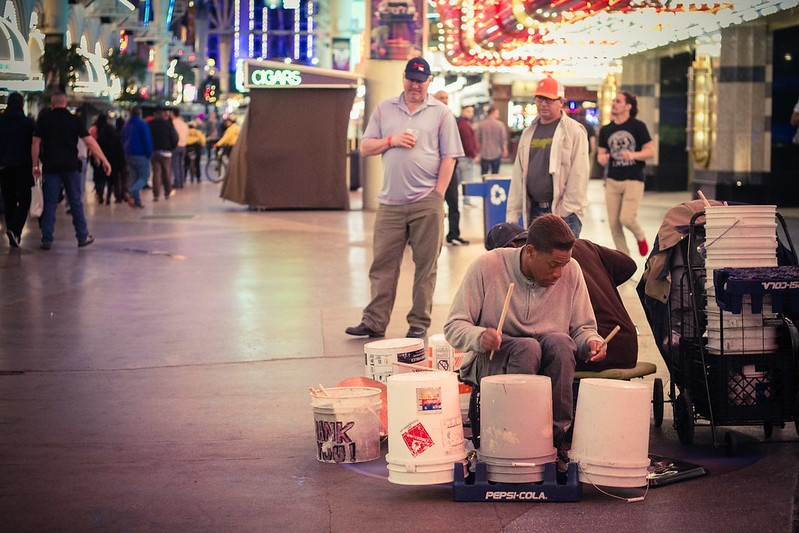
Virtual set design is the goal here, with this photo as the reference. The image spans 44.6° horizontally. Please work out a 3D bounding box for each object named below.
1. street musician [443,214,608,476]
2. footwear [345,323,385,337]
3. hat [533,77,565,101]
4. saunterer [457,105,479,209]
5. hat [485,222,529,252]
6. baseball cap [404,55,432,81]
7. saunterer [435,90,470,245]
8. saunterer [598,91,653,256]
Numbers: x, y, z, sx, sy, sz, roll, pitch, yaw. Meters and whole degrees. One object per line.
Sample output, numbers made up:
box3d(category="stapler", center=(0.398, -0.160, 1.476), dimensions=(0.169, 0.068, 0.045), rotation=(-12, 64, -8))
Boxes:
box3d(category="street musician", center=(0.884, 0.470, 7.156), dimensions=(1.019, 1.675, 1.236), rotation=(0, 2, -11))
box3d(category="footwear", center=(-0.380, 0.640, 9.899), dimensions=(0.429, 0.190, 0.151), rotation=(6, -1, -9))
box3d(category="hat", center=(1.491, -1.761, 9.570), dimensions=(0.318, 0.208, 0.250), rotation=(-1, 13, -5))
box3d(category="saunterer", center=(1.575, -2.567, 22.336), dimensions=(0.607, 2.233, 0.684), rotation=(-3, 17, -4))
box3d(category="hat", center=(0.827, -0.239, 7.569), dimensions=(0.282, 0.145, 0.193), rotation=(-22, 1, 26))
box3d(category="baseball cap", center=(0.180, -1.944, 9.469), dimensions=(0.185, 0.149, 0.271), rotation=(9, 20, -4))
box3d(category="saunterer", center=(0.843, -1.417, 15.475), dimensions=(0.612, 2.205, 0.660), rotation=(-8, 15, -16))
box3d(category="saunterer", center=(2.978, -1.146, 12.817), dimensions=(0.860, 2.374, 0.920), rotation=(3, 10, 30))
